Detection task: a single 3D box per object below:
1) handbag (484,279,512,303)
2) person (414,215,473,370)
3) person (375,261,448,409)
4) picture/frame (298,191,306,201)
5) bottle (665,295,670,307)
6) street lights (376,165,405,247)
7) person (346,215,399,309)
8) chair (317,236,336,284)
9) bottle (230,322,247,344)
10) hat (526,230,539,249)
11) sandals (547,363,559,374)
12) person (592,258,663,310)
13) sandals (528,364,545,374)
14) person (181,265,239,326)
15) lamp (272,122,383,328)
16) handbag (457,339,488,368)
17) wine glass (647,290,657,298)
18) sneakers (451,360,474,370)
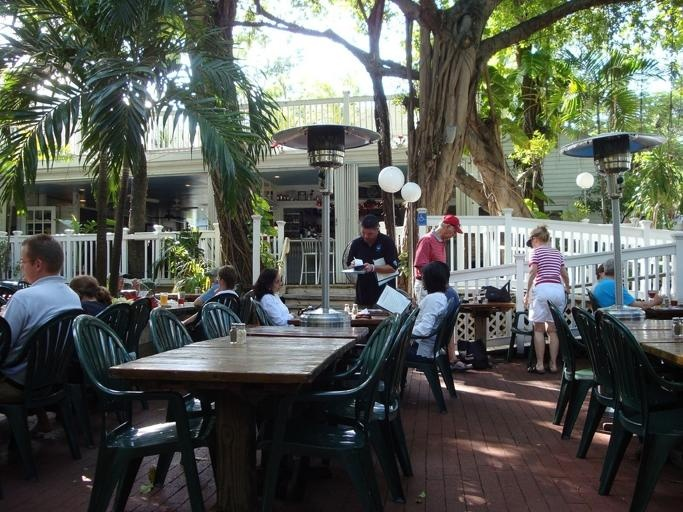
[{"bbox_3d":[2.245,0.525,8.416,0.338,0.396,0.232,-2,1,21],"label":"handbag"},{"bbox_3d":[1.265,0.419,7.723,0.691,1.977,0.644,0,6,-2],"label":"person"},{"bbox_3d":[0.793,0.833,6.082,0.649,1.626,0.654,2,1,19],"label":"person"},{"bbox_3d":[-1.322,-1.979,19.225,0.254,0.275,0.062,0,-1,12],"label":"picture/frame"},{"bbox_3d":[4.053,0.567,7.318,0.076,0.162,0.082,1,3,0],"label":"bottle"},{"bbox_3d":[0.914,-0.633,10.611,0.407,1.932,0.479,-7,13,-15],"label":"street lights"},{"bbox_3d":[0.322,0.266,7.156,0.609,1.480,0.523,8,20,27],"label":"person"},{"bbox_3d":[-0.375,0.153,14.633,0.462,1.421,0.491,0,-1,-8],"label":"chair"},{"bbox_3d":[-0.724,0.535,4.082,0.104,0.129,0.178,0,2,-16],"label":"bottle"},{"bbox_3d":[2.614,-0.220,7.943,0.121,0.213,0.200,9,-3,-8],"label":"hat"},{"bbox_3d":[2.856,1.516,7.918,0.076,0.105,0.235,-3,-11,5],"label":"sandals"},{"bbox_3d":[3.513,0.406,7.256,0.818,0.780,0.664,-6,0,4],"label":"person"},{"bbox_3d":[2.606,1.517,7.866,0.095,0.099,0.219,0,1,-43],"label":"sandals"},{"bbox_3d":[-1.615,0.509,7.231,0.629,0.822,0.467,6,-7,15],"label":"person"},{"bbox_3d":[-0.160,-0.247,5.469,1.125,1.864,1.222,3,16,5],"label":"lamp"},{"bbox_3d":[1.860,1.386,8.400,0.404,0.469,0.331,-3,-4,28],"label":"handbag"},{"bbox_3d":[4.095,0.504,7.754,0.114,0.126,0.127,-1,-6,7],"label":"wine glass"},{"bbox_3d":[1.655,1.515,8.095,0.283,0.131,0.173,5,-1,-7],"label":"sneakers"}]
